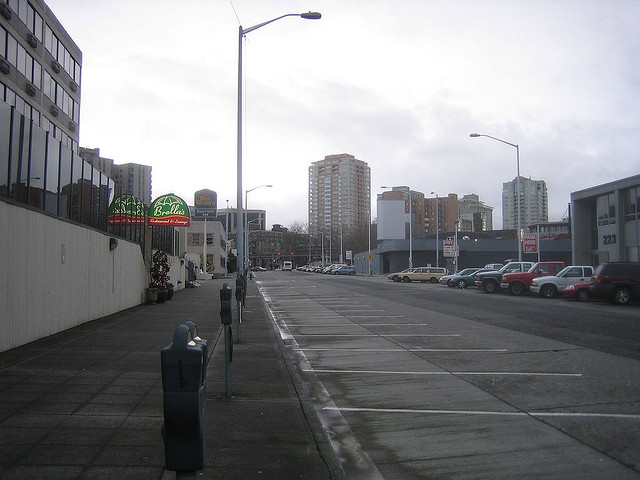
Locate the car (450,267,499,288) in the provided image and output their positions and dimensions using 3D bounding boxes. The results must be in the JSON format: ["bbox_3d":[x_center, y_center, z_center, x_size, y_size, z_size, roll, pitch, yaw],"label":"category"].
[{"bbox_3d":[11.427,2.810,41.865,2.967,1.093,1.460,1,-5,3],"label":"car"}]

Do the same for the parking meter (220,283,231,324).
[{"bbox_3d":[-1.421,0.989,8.514,0.216,0.623,0.172,1,-2,-2],"label":"parking meter"}]

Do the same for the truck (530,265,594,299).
[{"bbox_3d":[12.497,2.171,29.240,2.643,1.267,1.524,0,-5,9],"label":"truck"}]

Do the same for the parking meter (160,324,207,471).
[{"bbox_3d":[-1.101,1.271,4.539,0.350,1.160,0.282,1,-2,-16],"label":"parking meter"}]

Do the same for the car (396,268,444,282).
[{"bbox_3d":[9.941,3.316,54.354,3.289,1.173,1.664,2,-6,1],"label":"car"}]

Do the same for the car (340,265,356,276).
[{"bbox_3d":[4.233,4.442,83.816,2.073,1.029,1.208,4,-6,-5],"label":"car"}]

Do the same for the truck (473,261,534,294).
[{"bbox_3d":[11.710,2.214,35.064,3.555,1.738,2.187,1,-5,-4],"label":"truck"}]

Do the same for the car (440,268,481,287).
[{"bbox_3d":[11.190,2.873,43.577,2.727,1.000,1.269,2,-6,-8],"label":"car"}]

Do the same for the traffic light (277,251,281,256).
[{"bbox_3d":[-13.683,4.738,190.052,1.053,1.619,0.474,0,-16,-5],"label":"traffic light"}]

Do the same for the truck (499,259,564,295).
[{"bbox_3d":[11.998,2.081,31.789,2.982,1.531,1.915,0,-5,3],"label":"truck"}]

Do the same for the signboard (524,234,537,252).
[{"bbox_3d":[14.807,0.252,39.491,1.099,1.396,0.180,0,-5,-2],"label":"signboard"}]

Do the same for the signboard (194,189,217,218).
[{"bbox_3d":[-8.750,-2.797,43.203,1.770,2.490,0.188,0,35,-13],"label":"signboard"}]

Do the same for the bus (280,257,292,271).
[{"bbox_3d":[-8.810,6.178,148.848,3.516,3.237,6.342,1,0,-3],"label":"bus"}]
